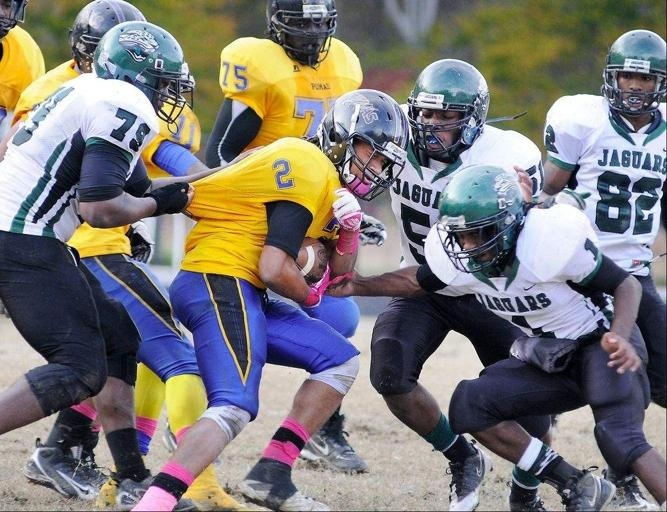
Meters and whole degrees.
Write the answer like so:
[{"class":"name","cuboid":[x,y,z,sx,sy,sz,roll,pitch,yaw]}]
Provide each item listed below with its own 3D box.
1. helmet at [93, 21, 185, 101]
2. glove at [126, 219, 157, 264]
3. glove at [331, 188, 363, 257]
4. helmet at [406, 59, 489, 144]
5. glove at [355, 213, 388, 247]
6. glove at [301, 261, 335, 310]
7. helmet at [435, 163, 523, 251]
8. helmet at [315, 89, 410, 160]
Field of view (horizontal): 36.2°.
[{"class":"helmet","cuboid":[-0.953,-0.998,5.330,0.484,0.366,0.367,13,12,-11]},{"class":"glove","cuboid":[-1.161,-0.090,6.196,0.153,0.238,0.086,23,46,5]},{"class":"glove","cuboid":[0.060,-0.167,5.322,0.163,0.378,0.253,7,16,-1]},{"class":"helmet","cuboid":[0.714,-0.905,5.915,0.415,0.424,0.545,9,26,30]},{"class":"glove","cuboid":[0.227,-0.149,5.963,0.194,0.080,0.135,29,35,4]},{"class":"glove","cuboid":[-0.096,0.159,5.432,0.139,0.222,0.154,48,-20,-15]},{"class":"helmet","cuboid":[0.770,-0.242,5.374,0.361,0.365,0.478,-12,9,45]},{"class":"helmet","cuboid":[0.145,-0.707,5.518,0.359,0.354,0.448,29,22,-20]}]
